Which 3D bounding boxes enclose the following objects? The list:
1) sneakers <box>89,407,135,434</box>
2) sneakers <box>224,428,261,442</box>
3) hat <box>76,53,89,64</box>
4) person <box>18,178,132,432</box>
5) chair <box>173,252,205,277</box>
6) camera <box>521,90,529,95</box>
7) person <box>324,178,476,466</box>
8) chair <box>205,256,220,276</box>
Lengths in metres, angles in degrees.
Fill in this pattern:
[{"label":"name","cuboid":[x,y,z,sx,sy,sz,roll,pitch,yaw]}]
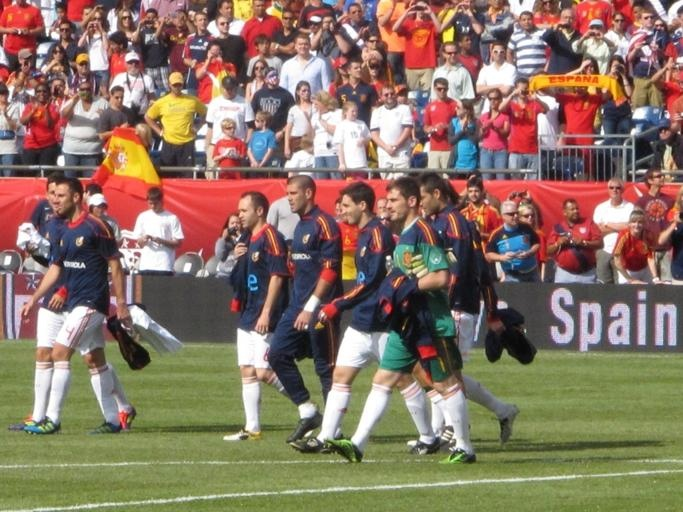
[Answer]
[{"label":"sneakers","cuboid":[-3.119,2.217,26.356,0.227,0.302,0.675,4,6,41]},{"label":"sneakers","cuboid":[-1.334,2.369,25.864,0.488,0.200,0.178,3,-2,-6]},{"label":"hat","cuboid":[-4.969,-3.887,36.885,0.291,0.159,0.430,-4,9,-13]},{"label":"person","cuboid":[-3.554,0.624,26.281,1.244,3.494,0.475,1,-2,-8]},{"label":"chair","cuboid":[-2.726,0.064,34.393,0.379,0.437,0.465,18,-38,6]},{"label":"camera","cuboid":[3.234,-2.948,33.810,0.088,0.087,0.022,-3,8,2]},{"label":"person","cuboid":[0.920,0.760,24.389,1.554,3.653,0.716,0,-2,4]},{"label":"chair","cuboid":[-2.290,0.100,34.106,0.271,0.305,0.319,5,17,2]}]
